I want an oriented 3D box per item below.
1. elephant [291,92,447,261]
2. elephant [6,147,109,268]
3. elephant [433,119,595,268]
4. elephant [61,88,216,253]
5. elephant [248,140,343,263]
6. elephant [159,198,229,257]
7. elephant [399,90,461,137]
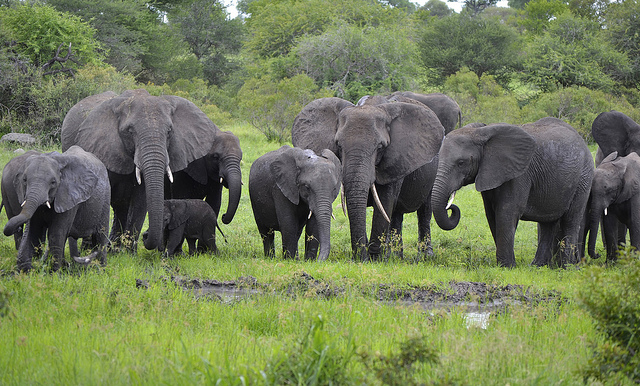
[{"bbox_3d":[1.250,-0.280,13.707,3.270,3.472,4.631,5,4,22],"label":"elephant"},{"bbox_3d":[-4.416,0.188,10.448,0.991,2.129,1.933,1,-3,15],"label":"elephant"},{"bbox_3d":[4.140,0.015,12.959,4.169,3.153,2.173,1,-2,-21],"label":"elephant"},{"bbox_3d":[-4.193,-0.417,13.563,2.941,3.251,4.587,-2,4,-31],"label":"elephant"},{"bbox_3d":[-0.424,0.162,12.092,1.169,2.311,2.334,3,-4,-30],"label":"elephant"},{"bbox_3d":[-2.734,0.851,12.708,2.108,1.141,0.750,-2,-18,23],"label":"elephant"},{"bbox_3d":[2.775,-2.158,16.404,2.177,1.106,0.932,8,17,19],"label":"elephant"}]
